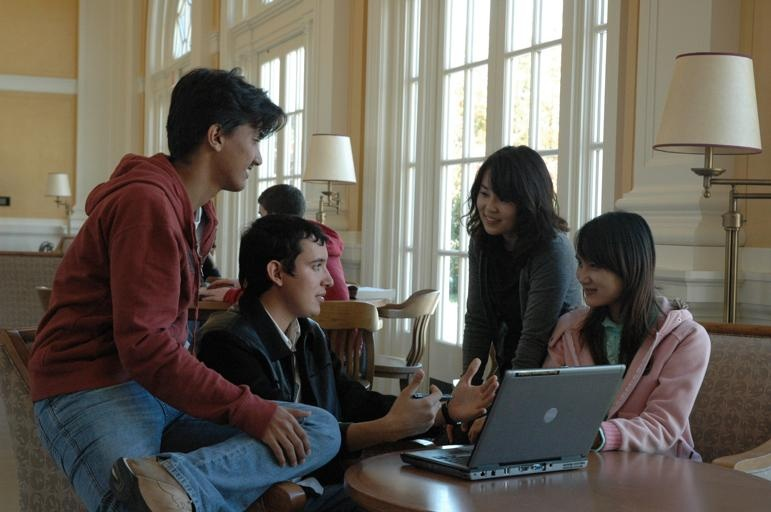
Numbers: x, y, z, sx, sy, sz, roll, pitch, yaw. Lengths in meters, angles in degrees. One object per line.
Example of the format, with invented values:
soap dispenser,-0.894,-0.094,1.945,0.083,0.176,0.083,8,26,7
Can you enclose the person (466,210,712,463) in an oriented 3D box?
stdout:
person,0.964,0.368,2.612,0.873,1.235,0.851,9,-12,-20

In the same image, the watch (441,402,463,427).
watch,0.219,0.527,1.936,0.073,0.086,0.036,-4,-16,10
